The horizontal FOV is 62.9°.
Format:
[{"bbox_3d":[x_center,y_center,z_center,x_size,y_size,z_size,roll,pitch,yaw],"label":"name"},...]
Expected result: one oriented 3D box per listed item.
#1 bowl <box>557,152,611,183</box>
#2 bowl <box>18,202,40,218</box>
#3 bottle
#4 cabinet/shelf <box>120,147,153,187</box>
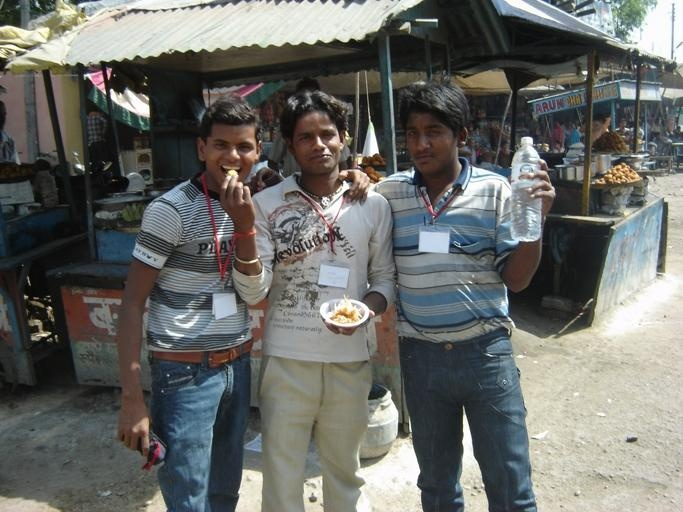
[{"bbox_3d":[3.541,-1.290,8.290,0.530,0.285,0.757,-7,11,-30],"label":"bowl"},{"bbox_3d":[-3.818,-0.578,6.835,0.253,0.127,0.558,-9,12,-28],"label":"bowl"},{"bbox_3d":[1.107,-0.401,3.350,0.179,0.612,0.276,0,11,17],"label":"bottle"},{"bbox_3d":[-3.248,-1.453,9.057,0.287,0.519,0.399,-9,18,-35],"label":"cabinet/shelf"}]
